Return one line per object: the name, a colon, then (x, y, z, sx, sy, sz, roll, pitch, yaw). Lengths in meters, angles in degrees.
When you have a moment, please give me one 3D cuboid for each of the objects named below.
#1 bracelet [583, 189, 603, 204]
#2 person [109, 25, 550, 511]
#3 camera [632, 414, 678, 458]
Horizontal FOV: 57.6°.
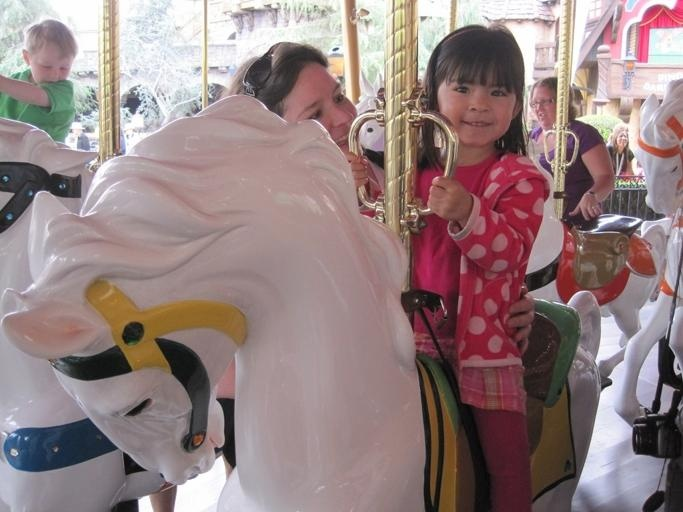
bracelet: (1.362, -0.322, 3.375, 0.071, 0.081, 0.030, 4, 4, 2)
person: (-0.092, 0.129, 1.624, 1.125, 1.429, 0.614, 2, 6, 16)
camera: (1.168, 0.658, 2.356, 0.142, 0.163, 0.153, 0, 1, 2)
